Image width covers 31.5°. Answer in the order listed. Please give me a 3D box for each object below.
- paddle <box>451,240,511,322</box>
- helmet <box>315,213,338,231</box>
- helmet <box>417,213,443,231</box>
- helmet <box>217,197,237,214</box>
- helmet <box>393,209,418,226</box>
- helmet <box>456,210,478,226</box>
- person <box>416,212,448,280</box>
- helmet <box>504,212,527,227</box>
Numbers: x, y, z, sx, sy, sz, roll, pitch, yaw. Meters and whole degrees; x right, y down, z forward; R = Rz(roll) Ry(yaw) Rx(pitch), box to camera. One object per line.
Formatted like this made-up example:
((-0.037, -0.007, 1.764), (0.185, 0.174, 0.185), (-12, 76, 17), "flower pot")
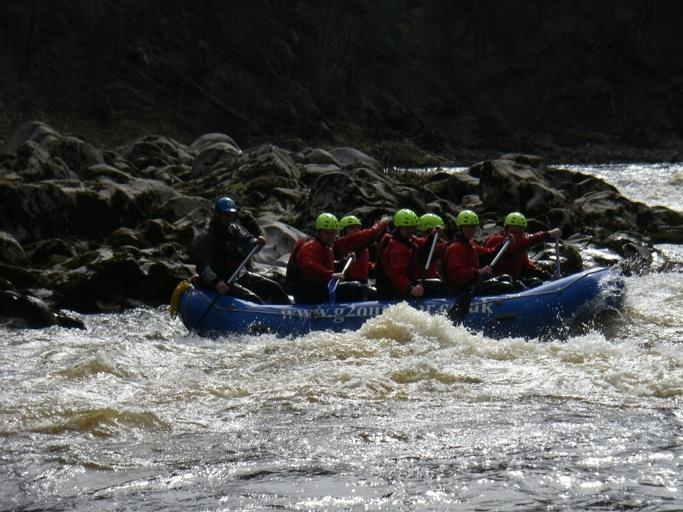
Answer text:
((2.665, 0.526, 23.099), (1.985, 0.350, 0.172), (-49, 10, -20), "paddle")
((-0.277, -0.673, 23.566), (0.408, 0.290, 0.283), (-3, 4, 17), "helmet")
((1.745, -0.655, 24.045), (0.433, 0.336, 0.309), (-22, 4, 16), "helmet")
((-2.287, -1.011, 23.902), (0.398, 0.294, 0.341), (3, 9, -5), "helmet")
((1.249, -0.737, 23.350), (0.406, 0.312, 0.295), (-10, -4, 31), "helmet")
((2.455, -0.732, 23.405), (0.403, 0.315, 0.430), (5, 9, 7), "helmet")
((1.787, -0.161, 24.084), (0.655, 1.831, 0.554), (-6, 34, 3), "person")
((3.463, -0.713, 23.906), (0.274, 0.322, 0.366), (10, 10, 12), "helmet")
